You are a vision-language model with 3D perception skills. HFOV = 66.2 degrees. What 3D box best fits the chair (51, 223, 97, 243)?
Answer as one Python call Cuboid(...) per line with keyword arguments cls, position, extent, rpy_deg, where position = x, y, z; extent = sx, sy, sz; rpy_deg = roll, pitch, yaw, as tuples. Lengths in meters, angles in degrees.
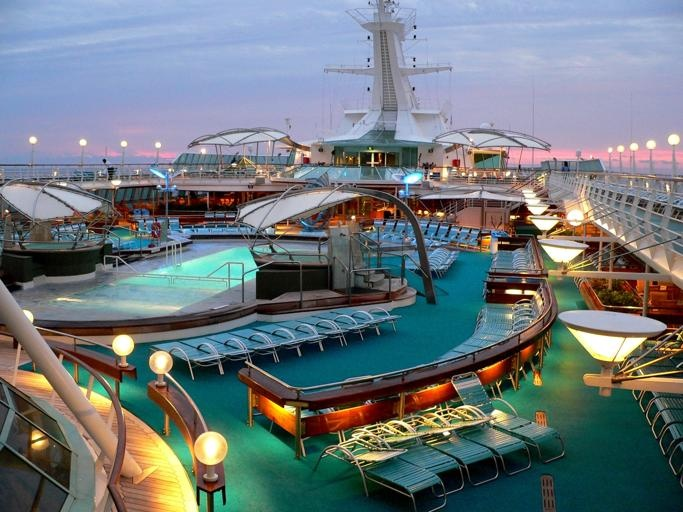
Cuboid(cls="chair", position=(-10.629, -0.949, 20.951), extent=(1.837, 0.508, 1.157), rpy_deg=(1, 12, -1))
